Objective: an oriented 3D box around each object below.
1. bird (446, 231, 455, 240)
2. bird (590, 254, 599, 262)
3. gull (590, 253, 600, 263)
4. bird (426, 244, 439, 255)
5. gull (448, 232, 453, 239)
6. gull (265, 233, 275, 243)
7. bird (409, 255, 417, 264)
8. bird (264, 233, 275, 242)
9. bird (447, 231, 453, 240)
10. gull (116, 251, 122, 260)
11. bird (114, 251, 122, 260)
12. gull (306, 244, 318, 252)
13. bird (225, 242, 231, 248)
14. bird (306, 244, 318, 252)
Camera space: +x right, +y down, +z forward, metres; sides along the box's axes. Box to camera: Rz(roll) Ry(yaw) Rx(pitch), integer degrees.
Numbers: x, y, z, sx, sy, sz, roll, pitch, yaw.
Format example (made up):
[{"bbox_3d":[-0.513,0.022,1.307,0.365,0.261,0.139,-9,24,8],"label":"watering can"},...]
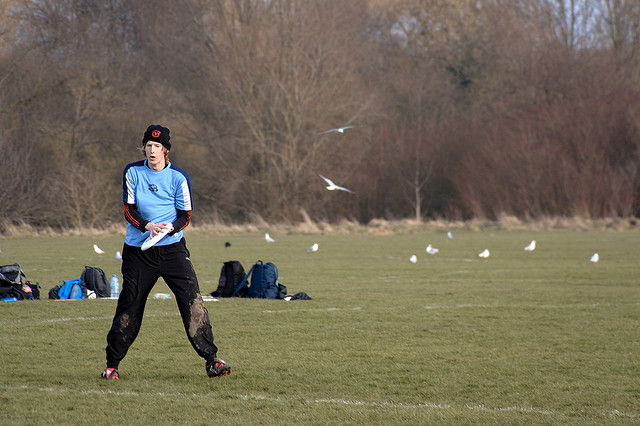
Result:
[{"bbox_3d":[7.358,1.307,74.226,0.411,0.476,0.382,-2,2,-40],"label":"bird"},{"bbox_3d":[13.092,2.077,62.853,0.255,0.432,0.301,9,-33,35],"label":"bird"},{"bbox_3d":[13.109,2.137,62.985,0.333,0.504,0.539,8,-14,-40],"label":"gull"},{"bbox_3d":[5.552,1.849,64.887,0.410,0.271,0.550,3,-4,36],"label":"bird"},{"bbox_3d":[7.295,1.300,73.918,0.261,0.333,0.285,1,0,-36],"label":"gull"},{"bbox_3d":[-2.730,1.411,71.371,0.321,0.384,0.550,-19,-18,33],"label":"gull"},{"bbox_3d":[4.455,2.253,63.425,0.321,0.181,0.454,-4,-4,2],"label":"bird"},{"bbox_3d":[-2.756,1.367,71.219,0.518,0.405,0.301,-2,1,6],"label":"bird"},{"bbox_3d":[7.325,1.300,74.113,0.346,0.448,0.358,-2,2,-33],"label":"bird"},{"bbox_3d":[-9.740,2.096,64.072,0.249,0.388,0.392,1,-44,0],"label":"gull"},{"bbox_3d":[-9.976,2.198,65.021,0.310,0.427,0.408,-7,35,2],"label":"bird"},{"bbox_3d":[-0.393,1.804,66.697,0.527,0.422,0.293,1,6,5],"label":"gull"},{"bbox_3d":[-4.837,1.655,69.516,0.296,0.236,0.708,-1,-4,-4],"label":"bird"},{"bbox_3d":[-0.403,1.805,66.702,0.527,0.422,0.293,1,6,5],"label":"bird"}]
